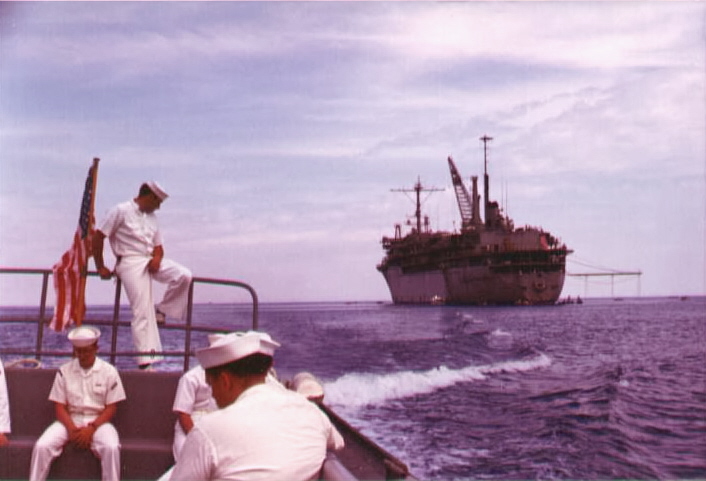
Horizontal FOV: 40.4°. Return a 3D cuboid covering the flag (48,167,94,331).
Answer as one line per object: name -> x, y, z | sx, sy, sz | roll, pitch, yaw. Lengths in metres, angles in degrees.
flag -> -8.267, 0.093, 28.423 | 1.409, 5.161, 0.627 | 3, -6, 14

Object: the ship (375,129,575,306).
ship -> 11.171, -1.346, 105.285 | 10.358, 16.556, 31.111 | -4, -2, -25

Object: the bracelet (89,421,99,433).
bracelet -> -7.429, 5.220, 27.252 | 0.292, 0.240, 0.127 | 0, 2, -8
